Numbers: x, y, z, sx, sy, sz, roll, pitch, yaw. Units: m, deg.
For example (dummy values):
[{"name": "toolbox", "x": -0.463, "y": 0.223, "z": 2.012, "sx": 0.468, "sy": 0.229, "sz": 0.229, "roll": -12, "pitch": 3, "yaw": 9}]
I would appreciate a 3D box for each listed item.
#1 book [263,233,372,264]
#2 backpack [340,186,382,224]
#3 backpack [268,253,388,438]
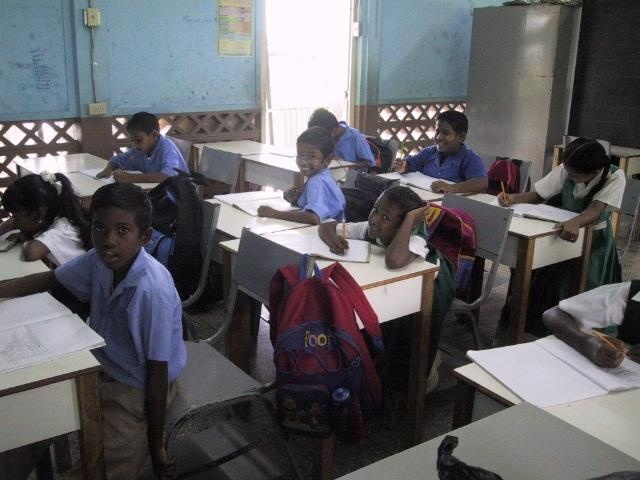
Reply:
[{"name": "book", "x": -0.001, "y": 0.025, "z": 1.981, "sx": 0.151, "sy": 0.027, "sz": 0.263, "roll": -16, "pitch": 22, "yaw": -42}, {"name": "backpack", "x": 0.211, "y": -0.189, "z": 2.591, "sx": 0.165, "sy": 0.207, "sz": 0.181, "roll": 8, "pitch": 23, "yaw": -4}, {"name": "backpack", "x": 0.039, "y": 0.341, "z": 1.544, "sx": 0.384, "sy": 0.481, "sz": 0.310, "roll": -4, "pitch": 18, "yaw": -6}]
